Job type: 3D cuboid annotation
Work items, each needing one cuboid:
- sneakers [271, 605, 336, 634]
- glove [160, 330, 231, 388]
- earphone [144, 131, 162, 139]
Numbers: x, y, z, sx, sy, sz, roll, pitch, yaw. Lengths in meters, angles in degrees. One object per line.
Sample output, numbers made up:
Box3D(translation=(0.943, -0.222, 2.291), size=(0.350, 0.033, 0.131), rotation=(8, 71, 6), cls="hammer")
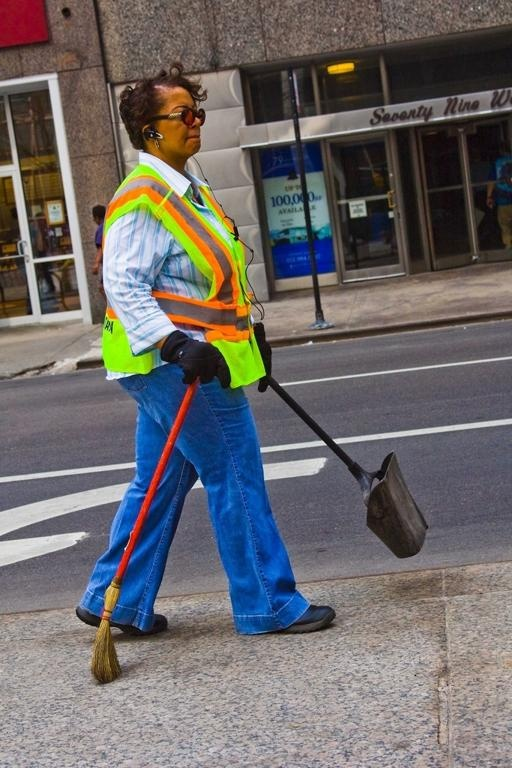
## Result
Box3D(translation=(0.143, 0.757, 2.713), size=(0.229, 0.095, 0.073), rotation=(-10, 5, 0), cls="sneakers")
Box3D(translation=(-0.161, -0.072, 2.404), size=(0.214, 0.163, 0.153), rotation=(-11, 2, -41), cls="glove")
Box3D(translation=(-0.328, -0.790, 2.642), size=(0.044, 0.019, 0.029), rotation=(5, -29, 6), cls="earphone")
